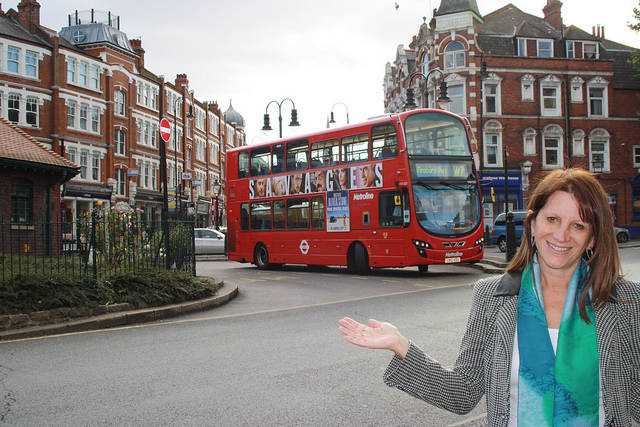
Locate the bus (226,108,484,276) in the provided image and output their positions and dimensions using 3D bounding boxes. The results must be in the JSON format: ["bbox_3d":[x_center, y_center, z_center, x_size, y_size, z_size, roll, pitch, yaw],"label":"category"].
[{"bbox_3d":[0.613,-0.576,22.593,3.519,5.627,11.755,-2,-1,-40],"label":"bus"}]

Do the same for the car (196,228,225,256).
[{"bbox_3d":[-6.666,1.738,33.124,1.726,1.535,0.737,-1,0,-7],"label":"car"}]
